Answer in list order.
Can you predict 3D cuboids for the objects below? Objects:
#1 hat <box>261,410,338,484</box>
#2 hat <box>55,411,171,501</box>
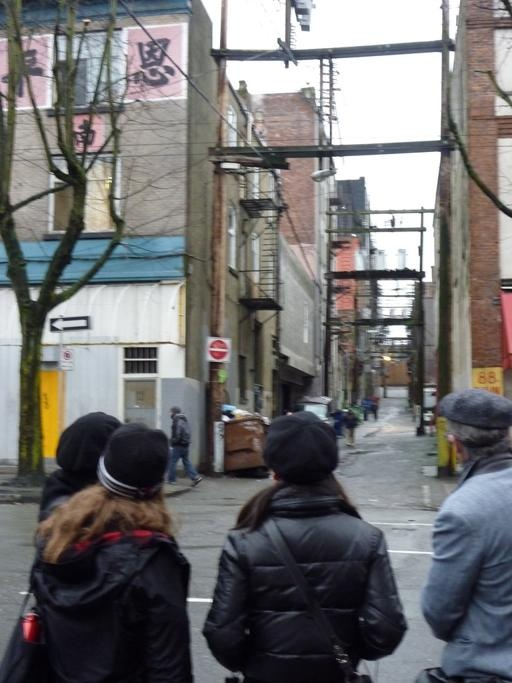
[{"bbox_3d":[0.227,0.549,7.977,0.314,0.318,0.406,-4,28,-12],"label":"hat"},{"bbox_3d":[-0.832,0.627,8.335,0.346,0.434,0.453,26,7,1],"label":"hat"}]
